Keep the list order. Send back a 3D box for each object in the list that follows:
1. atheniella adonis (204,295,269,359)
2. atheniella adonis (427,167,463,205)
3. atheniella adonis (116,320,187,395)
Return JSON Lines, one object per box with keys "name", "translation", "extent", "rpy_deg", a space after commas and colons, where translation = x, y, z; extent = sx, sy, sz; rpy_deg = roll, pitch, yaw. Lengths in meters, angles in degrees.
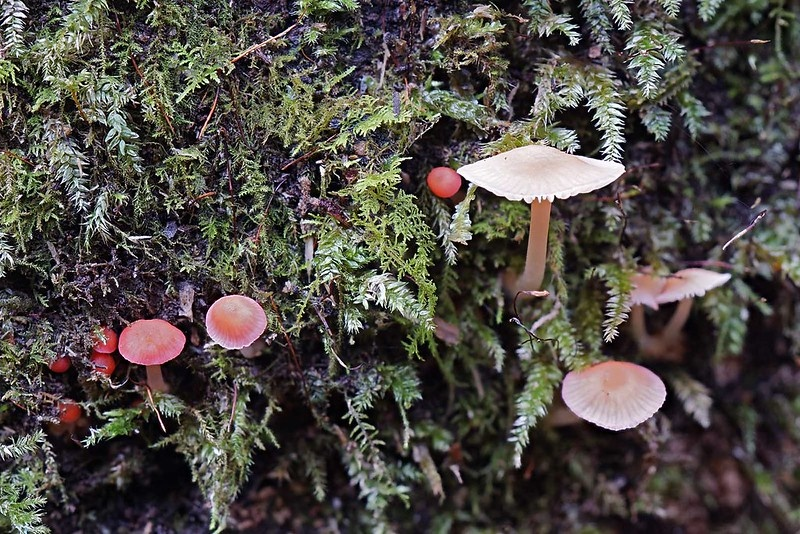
{"name": "atheniella adonis", "translation": [-0.967, 0.319, 4.112], "extent": [0.316, 0.129, 0.320], "rpy_deg": [36, 79, 15]}
{"name": "atheniella adonis", "translation": [0.264, -0.505, 4.283], "extent": [0.181, 0.185, 0.198], "rpy_deg": [35, 114, 18]}
{"name": "atheniella adonis", "translation": [-1.485, 0.595, 4.195], "extent": [0.384, 0.452, 0.380], "rpy_deg": [-4, 31, -16]}
